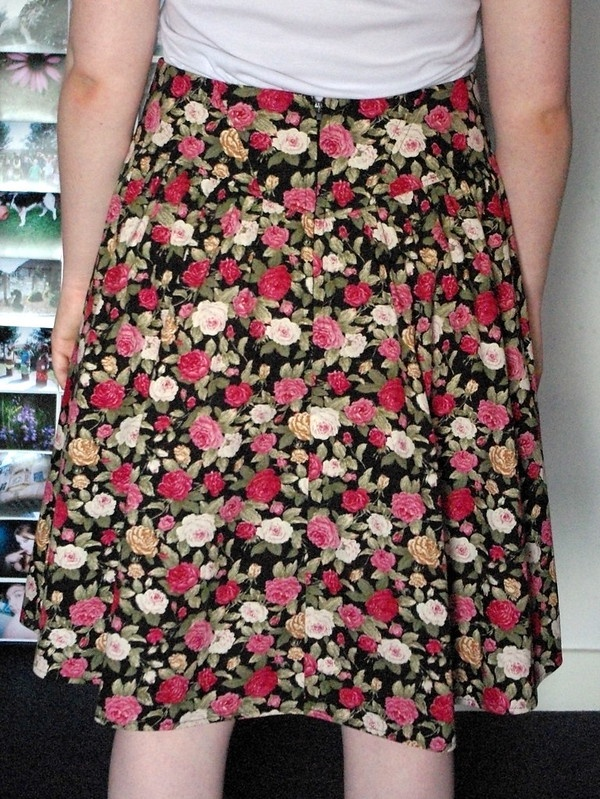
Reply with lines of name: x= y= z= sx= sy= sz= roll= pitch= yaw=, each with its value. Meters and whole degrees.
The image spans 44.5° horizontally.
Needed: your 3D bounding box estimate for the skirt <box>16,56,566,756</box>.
skirt: x=0.000 y=0.004 z=0.704 sx=0.482 sy=0.480 sz=0.500 roll=2 pitch=43 yaw=0
